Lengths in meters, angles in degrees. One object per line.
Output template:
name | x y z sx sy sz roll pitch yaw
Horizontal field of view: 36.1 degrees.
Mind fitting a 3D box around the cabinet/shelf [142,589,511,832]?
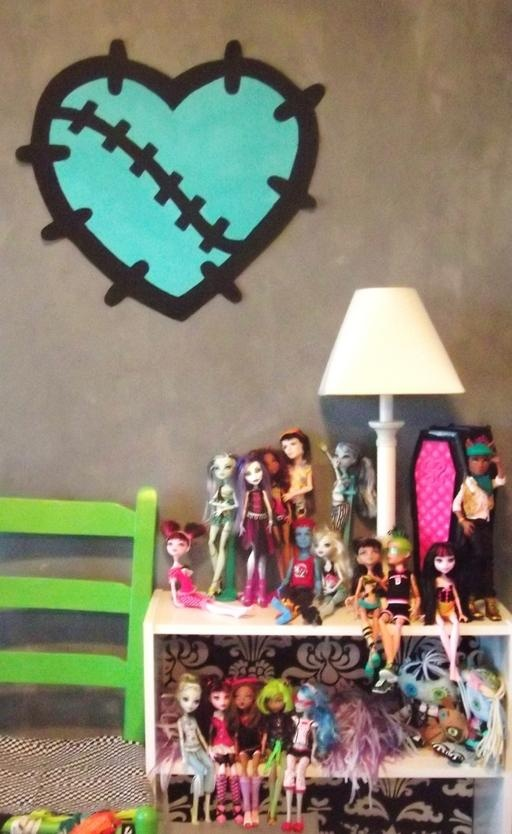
cabinet/shelf | 0.142 0.635 1.763 0.683 0.560 0.216 0 7 0

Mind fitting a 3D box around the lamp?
lamp | 0.300 -0.008 1.792 0.302 0.563 0.285 -1 13 4
